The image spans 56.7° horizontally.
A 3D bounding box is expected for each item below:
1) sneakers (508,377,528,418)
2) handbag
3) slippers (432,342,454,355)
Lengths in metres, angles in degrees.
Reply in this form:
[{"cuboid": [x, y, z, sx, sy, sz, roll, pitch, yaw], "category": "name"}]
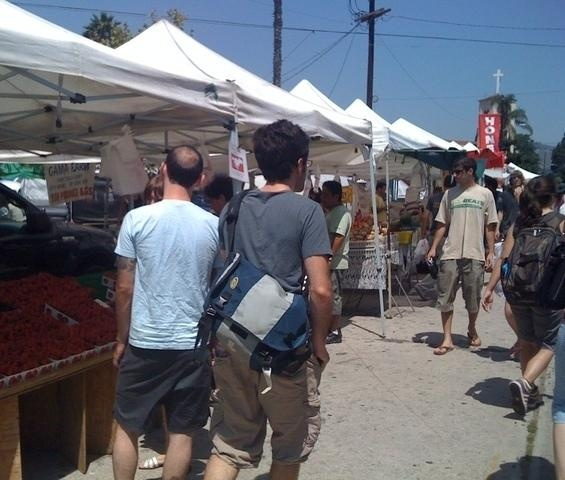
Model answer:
[{"cuboid": [1.696, 1.155, 3.787, 0.129, 0.319, 0.108, -34, 26, -30], "category": "sneakers"}, {"cuboid": [-0.133, 0.367, 2.530, 0.525, 0.602, 0.180, 0, 5, 2], "category": "handbag"}, {"cuboid": [1.901, 1.286, 6.166, 0.262, 0.113, 0.094, 4, -5, -40], "category": "slippers"}]
